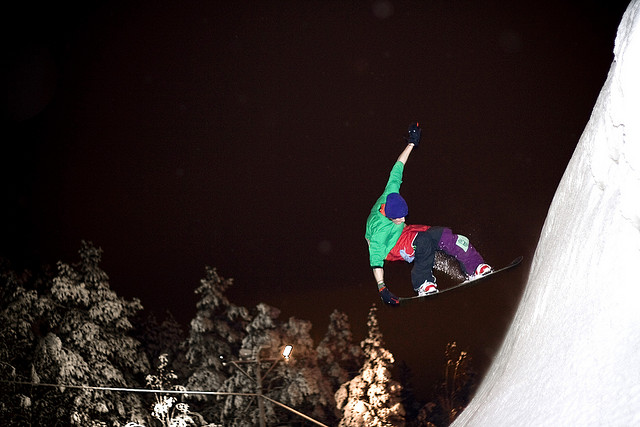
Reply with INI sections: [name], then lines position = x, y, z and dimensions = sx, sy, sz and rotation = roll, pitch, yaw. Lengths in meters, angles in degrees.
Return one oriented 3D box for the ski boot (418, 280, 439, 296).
[ski boot]
position = 1.689, 1.174, 9.403
dimensions = 0.297, 0.163, 0.184
rotation = -13, -66, 7
